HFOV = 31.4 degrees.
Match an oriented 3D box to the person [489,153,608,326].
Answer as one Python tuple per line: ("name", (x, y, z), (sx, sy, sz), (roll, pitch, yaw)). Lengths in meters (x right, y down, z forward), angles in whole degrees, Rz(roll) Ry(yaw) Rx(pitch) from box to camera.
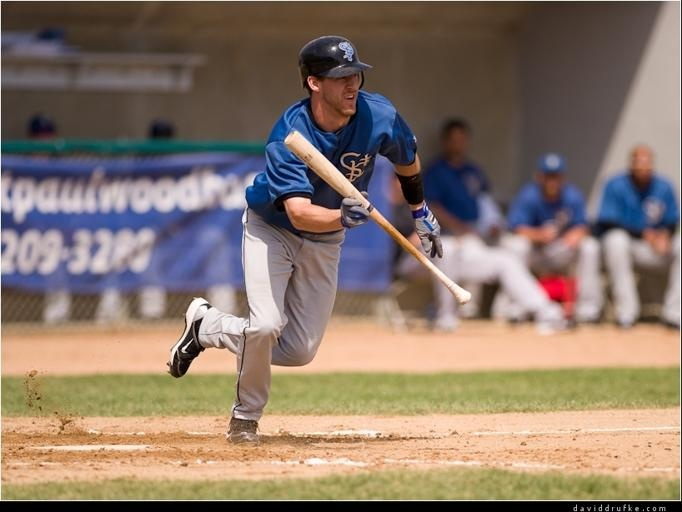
("person", (2.268, -0.177, 12.995), (1.098, 1.780, 0.454), (3, 3, 11))

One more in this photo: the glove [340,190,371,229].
("glove", (0.078, -0.308, 8.325), (0.166, 0.213, 0.097), (-30, -11, -17))

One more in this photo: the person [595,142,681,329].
("person", (3.239, -0.198, 13.289), (0.948, 1.984, 0.620), (3, 3, 11))

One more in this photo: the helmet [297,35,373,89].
("helmet", (-0.075, -1.363, 8.658), (0.450, 0.247, 0.346), (-1, 14, 26))

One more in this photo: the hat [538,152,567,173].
("hat", (2.251, -0.978, 12.974), (0.269, 0.209, 0.313), (3, 3, 7))
